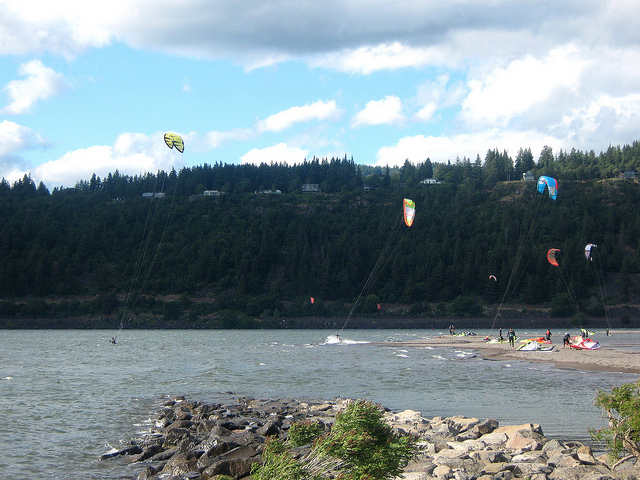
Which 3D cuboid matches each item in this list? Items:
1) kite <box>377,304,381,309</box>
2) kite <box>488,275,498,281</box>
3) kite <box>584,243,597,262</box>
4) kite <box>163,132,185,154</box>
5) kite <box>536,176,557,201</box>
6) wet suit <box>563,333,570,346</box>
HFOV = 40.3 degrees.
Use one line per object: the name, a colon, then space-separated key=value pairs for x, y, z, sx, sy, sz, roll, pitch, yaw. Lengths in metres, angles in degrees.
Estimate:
kite: x=12.151 y=13.147 z=171.926 sx=0.440 sy=0.719 sz=0.977 roll=-1 pitch=-5 yaw=-6
kite: x=36.125 y=7.894 z=179.371 sx=2.045 sy=0.507 sz=2.104 roll=8 pitch=-17 yaw=-21
kite: x=51.512 y=2.516 z=163.769 sx=1.547 sy=3.718 sz=2.531 roll=-1 pitch=8 yaw=31
kite: x=-17.280 y=-11.492 z=104.307 sx=2.509 sy=1.892 sz=1.019 roll=8 pitch=-7 yaw=-41
kite: x=29.515 y=-7.101 z=113.305 sx=3.179 sy=3.159 sz=2.437 roll=1 pitch=6 yaw=-41
wet suit: x=31.292 y=12.433 z=109.267 sx=0.794 sy=1.269 sz=0.882 roll=-1 pitch=-7 yaw=41
